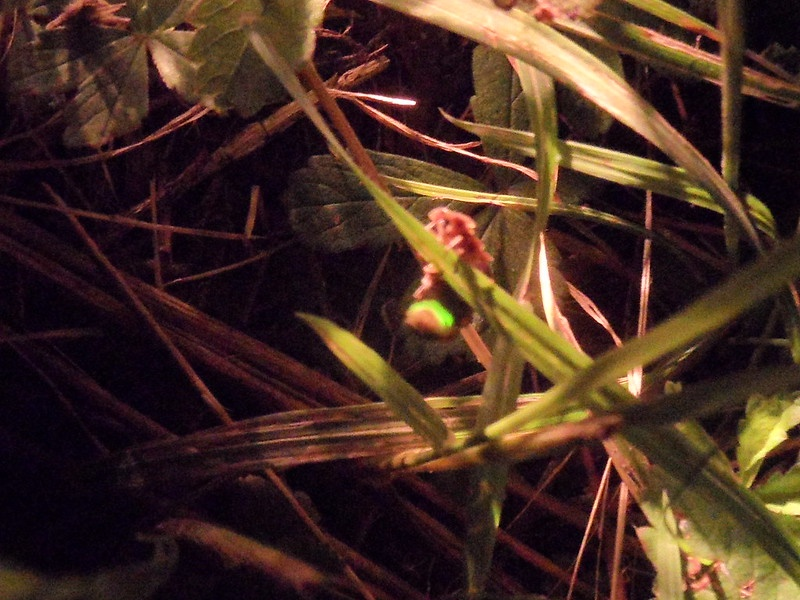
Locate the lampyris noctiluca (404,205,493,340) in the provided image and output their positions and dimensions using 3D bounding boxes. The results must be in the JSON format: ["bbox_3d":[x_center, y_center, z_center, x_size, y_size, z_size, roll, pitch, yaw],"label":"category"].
[{"bbox_3d":[0.115,-0.039,1.978,0.195,0.313,0.115,15,20,11],"label":"lampyris noctiluca"}]
